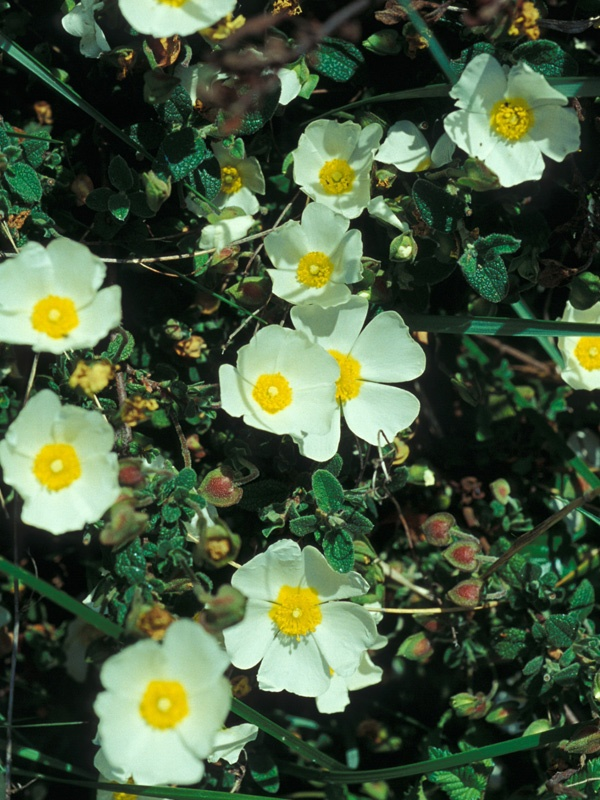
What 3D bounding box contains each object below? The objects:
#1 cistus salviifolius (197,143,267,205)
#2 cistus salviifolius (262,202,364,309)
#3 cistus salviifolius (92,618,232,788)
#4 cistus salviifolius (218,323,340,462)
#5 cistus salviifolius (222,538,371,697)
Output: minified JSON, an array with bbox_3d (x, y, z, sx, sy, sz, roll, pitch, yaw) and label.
[{"bbox_3d":[-0.114,-0.412,1.354,0.094,0.088,0.108,1,-46,-4],"label":"cistus salviifolius"},{"bbox_3d":[0.024,-0.234,1.245,0.159,0.114,0.172,-6,-45,3],"label":"cistus salviifolius"},{"bbox_3d":[-0.179,0.394,0.940,0.160,0.136,0.258,9,-46,-11],"label":"cistus salviifolius"},{"bbox_3d":[-0.021,-0.031,1.203,0.211,0.138,0.141,26,-53,-26],"label":"cistus salviifolius"},{"bbox_3d":[-0.018,0.359,1.332,0.293,0.119,0.261,-16,-83,-12],"label":"cistus salviifolius"}]
